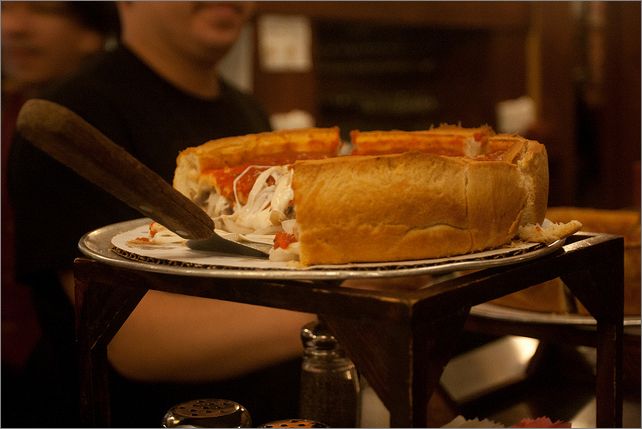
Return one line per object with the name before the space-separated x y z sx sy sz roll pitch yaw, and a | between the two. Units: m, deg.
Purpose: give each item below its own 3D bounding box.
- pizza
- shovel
pizza | 0.099 -0.028 0.973 0.432 0.131 0.356 0 0 -11
shovel | -0.355 -0.060 1.126 0.502 0.072 0.078 38 12 -9
